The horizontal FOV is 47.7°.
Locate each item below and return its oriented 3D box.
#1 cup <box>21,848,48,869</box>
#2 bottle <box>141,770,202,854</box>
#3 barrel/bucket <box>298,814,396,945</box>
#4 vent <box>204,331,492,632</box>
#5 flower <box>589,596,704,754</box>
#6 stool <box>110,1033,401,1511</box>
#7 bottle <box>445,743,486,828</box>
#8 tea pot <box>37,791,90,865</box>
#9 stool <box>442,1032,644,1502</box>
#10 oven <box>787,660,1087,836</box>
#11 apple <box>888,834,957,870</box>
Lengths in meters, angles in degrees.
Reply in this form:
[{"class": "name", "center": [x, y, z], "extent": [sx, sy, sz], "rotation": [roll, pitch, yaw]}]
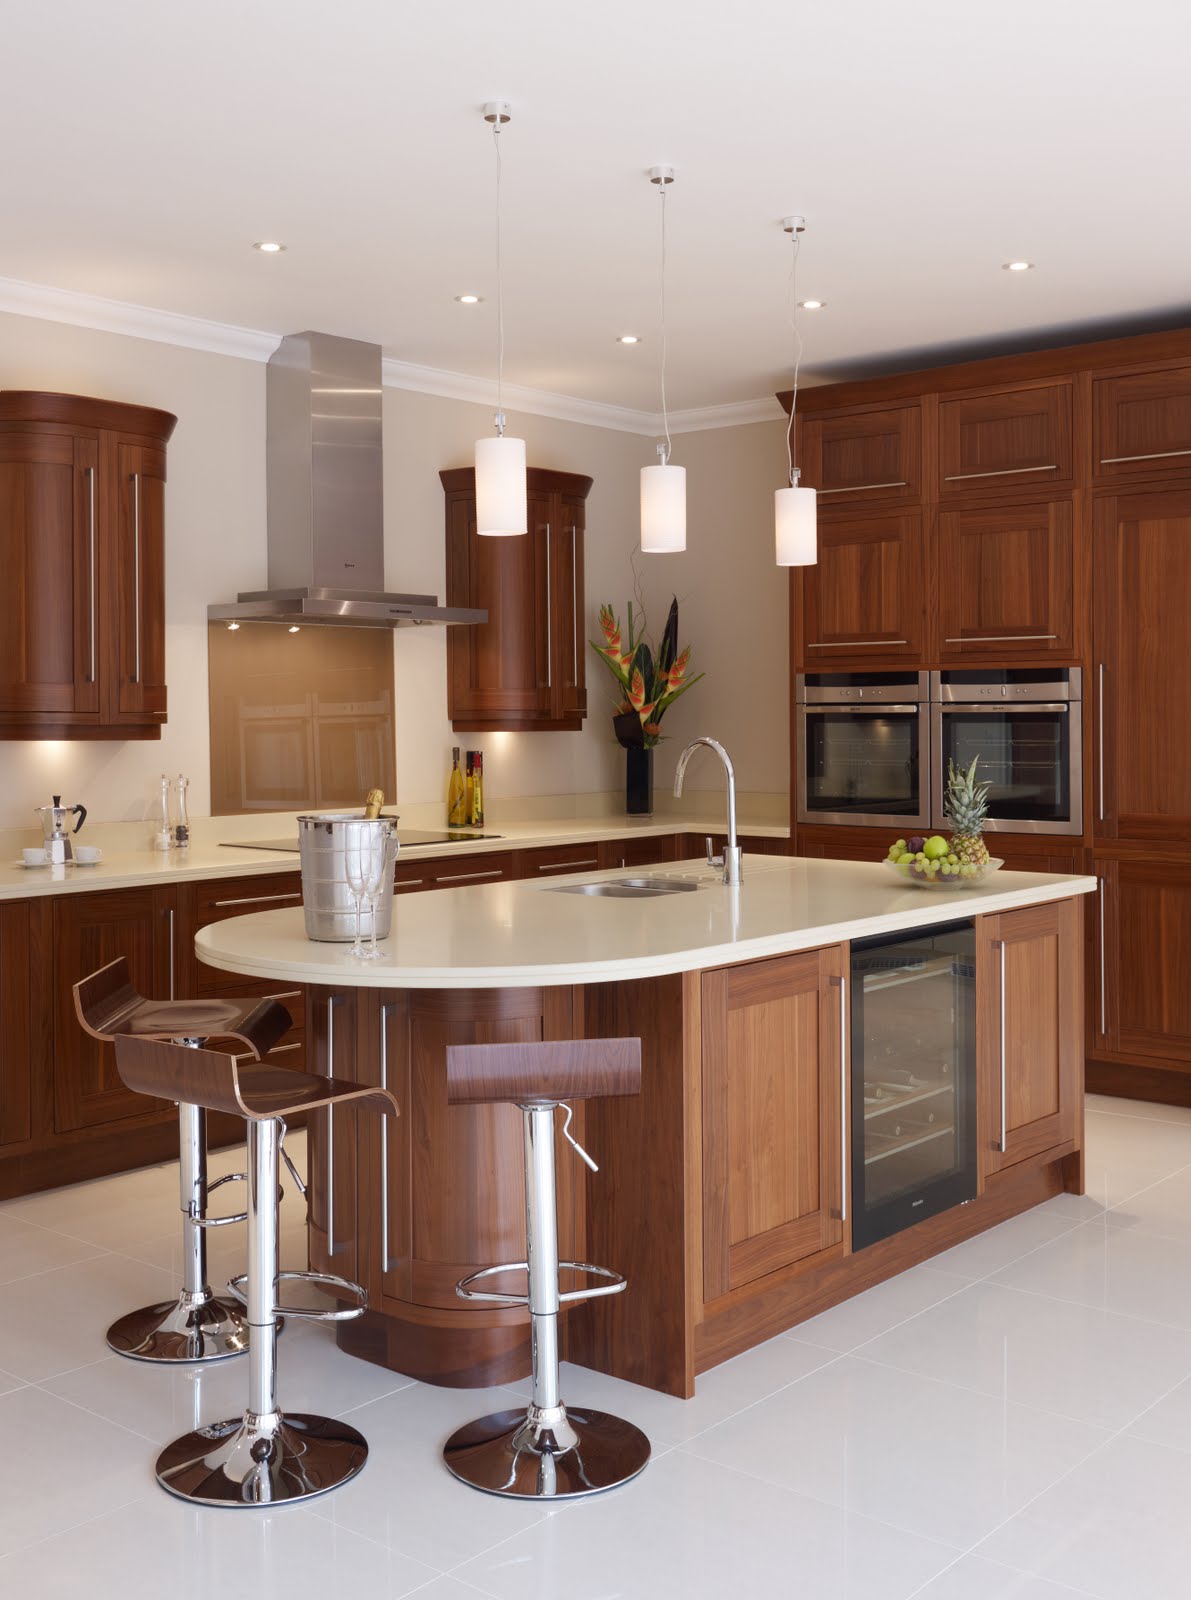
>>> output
[{"class": "cup", "center": [-1.727, 0.183, 4.133], "extent": [0.052, 0.035, 0.079], "rotation": [0, -3, 2]}, {"class": "bottle", "center": [-1.496, 0.045, 4.744], "extent": [0.152, 0.270, 0.224], "rotation": [0, -2, -16]}, {"class": "barrel/bucket", "center": [-0.464, 0.145, 2.471], "extent": [0.190, 0.230, 0.162], "rotation": [1, 2, 31]}, {"class": "vent", "center": [-1.005, -1.190, 5.072], "extent": [1.100, 1.041, 0.629], "rotation": [-9, 23, -41]}, {"class": "flower", "center": [0.240, -0.646, 6.623], "extent": [0.481, 0.739, 0.569], "rotation": [-1, -2, 4]}, {"class": "stool", "center": [-0.556, 0.732, 2.189], "extent": [0.391, 0.710, 0.442], "rotation": [1, -3, -39]}, {"class": "bottle", "center": [-0.575, -0.052, 5.887], "extent": [0.155, 0.366, 0.346], "rotation": [0, -2, -4]}, {"class": "tea pot", "center": [-1.713, 0.099, 4.337], "extent": [0.132, 0.238, 0.399], "rotation": [0, -2, -21]}, {"class": "stool", "center": [-0.084, 0.723, 2.238], "extent": [0.344, 0.711, 0.606], "rotation": [0, -2, -7]}, {"class": "oven", "center": [1.395, -0.210, 5.372], "extent": [1.155, 0.652, 0.403], "rotation": [2, 10, 33]}, {"class": "apple", "center": [0.836, 0.151, 3.454], "extent": [0.146, 0.104, 0.243], "rotation": [0, -2, -7]}]
